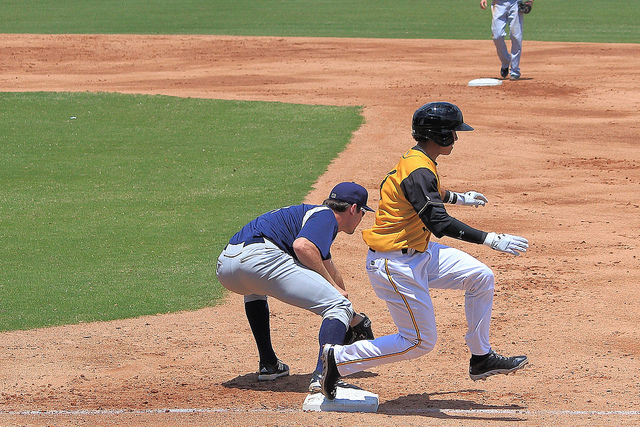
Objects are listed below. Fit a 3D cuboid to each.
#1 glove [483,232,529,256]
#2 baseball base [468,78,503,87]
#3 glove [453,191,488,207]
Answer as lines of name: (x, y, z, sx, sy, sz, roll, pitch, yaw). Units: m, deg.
glove: (3.314, 0.535, 24.149, 0.721, 0.414, 0.324, -1, 12, 17)
baseball base: (4.431, -3.540, 36.224, 0.924, 0.178, 0.700, -2, 9, 6)
glove: (2.800, -0.260, 25.130, 0.562, 0.187, 0.266, 9, 42, -24)
